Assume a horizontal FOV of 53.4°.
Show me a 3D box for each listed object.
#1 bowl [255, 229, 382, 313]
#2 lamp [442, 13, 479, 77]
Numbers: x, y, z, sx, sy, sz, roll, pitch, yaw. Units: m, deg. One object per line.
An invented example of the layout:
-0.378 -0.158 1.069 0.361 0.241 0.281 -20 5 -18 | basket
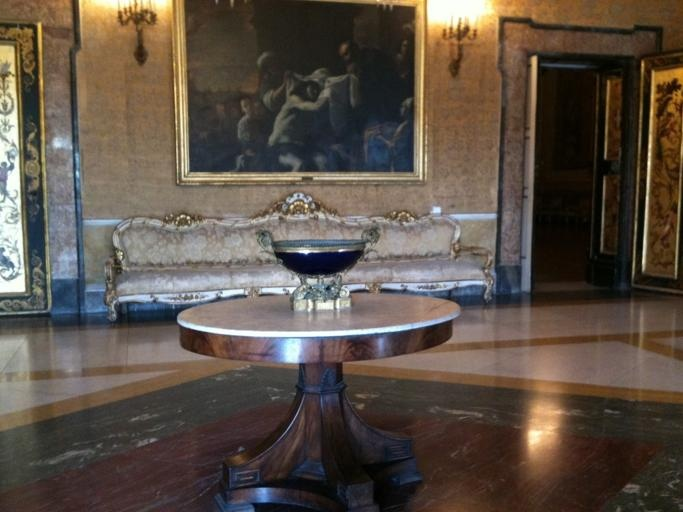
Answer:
-0.152 0.045 3.663 0.622 0.373 0.426 -1 3 -5 | bowl
1.348 -2.382 7.744 0.415 0.678 0.118 0 12 0 | lamp
